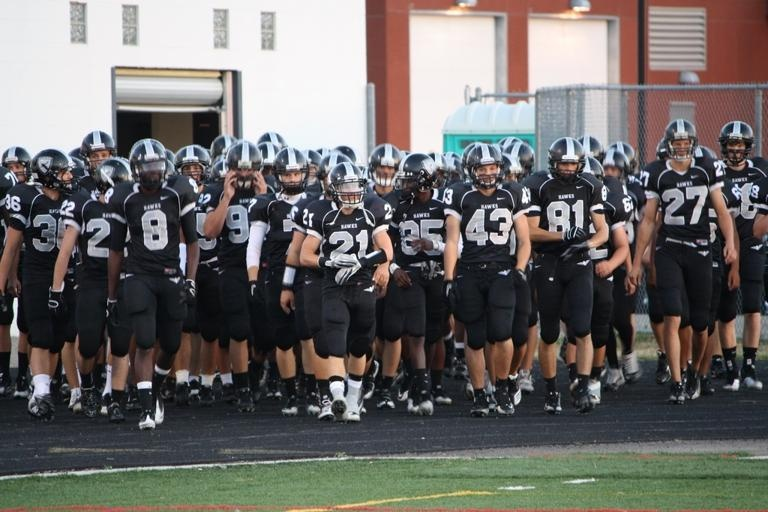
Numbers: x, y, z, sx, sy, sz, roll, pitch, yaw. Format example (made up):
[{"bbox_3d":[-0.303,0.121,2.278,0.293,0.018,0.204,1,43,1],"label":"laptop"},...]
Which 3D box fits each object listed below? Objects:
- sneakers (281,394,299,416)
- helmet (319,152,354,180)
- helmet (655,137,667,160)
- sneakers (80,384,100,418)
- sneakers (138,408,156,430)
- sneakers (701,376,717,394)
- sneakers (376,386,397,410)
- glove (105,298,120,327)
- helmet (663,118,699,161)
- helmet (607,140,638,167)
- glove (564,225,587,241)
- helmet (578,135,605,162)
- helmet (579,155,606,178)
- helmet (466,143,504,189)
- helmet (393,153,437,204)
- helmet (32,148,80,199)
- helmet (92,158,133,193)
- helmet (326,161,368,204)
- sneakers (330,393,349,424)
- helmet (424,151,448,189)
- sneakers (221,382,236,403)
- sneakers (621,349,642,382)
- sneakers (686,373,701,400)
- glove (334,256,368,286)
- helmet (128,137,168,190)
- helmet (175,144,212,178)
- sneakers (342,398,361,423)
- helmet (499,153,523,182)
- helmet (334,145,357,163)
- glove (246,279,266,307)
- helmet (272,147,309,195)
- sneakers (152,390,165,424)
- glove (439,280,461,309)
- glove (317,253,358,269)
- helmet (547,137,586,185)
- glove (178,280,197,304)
[{"bbox_3d":[-1.096,1.724,15.642,0.118,0.165,0.335,0,-10,-2],"label":"sneakers"},{"bbox_3d":[-0.562,-1.041,15.543,0.288,0.337,0.357,1,-10,-17],"label":"helmet"},{"bbox_3d":[3.306,-1.257,16.236,0.168,0.217,0.189,4,6,-5],"label":"helmet"},{"bbox_3d":[-3.336,1.660,15.677,0.145,0.404,0.169,0,-40,-39],"label":"sneakers"},{"bbox_3d":[-2.552,1.743,14.747,0.179,0.223,0.138,-3,6,-21],"label":"sneakers"},{"bbox_3d":[3.843,1.567,16.372,0.112,0.144,0.318,0,-13,8],"label":"sneakers"},{"bbox_3d":[0.003,1.673,16.149,0.205,0.195,0.465,0,-3,-3],"label":"sneakers"},{"bbox_3d":[-2.955,0.610,14.850,0.110,0.333,0.132,-1,-10,-2],"label":"glove"},{"bbox_3d":[3.348,-1.315,15.598,0.319,0.388,0.455,-1,6,4],"label":"helmet"},{"bbox_3d":[2.942,-1.265,16.927,0.297,0.368,0.369,-4,0,-3],"label":"helmet"},{"bbox_3d":[2.115,-0.239,15.137,0.299,0.157,0.136,-4,7,-25],"label":"glove"},{"bbox_3d":[2.447,-1.304,16.434,0.248,0.331,0.289,12,7,34],"label":"helmet"},{"bbox_3d":[2.386,-1.029,15.856,0.217,0.293,0.288,4,15,4],"label":"helmet"},{"bbox_3d":[1.085,-1.018,15.296,0.355,0.445,0.494,-2,4,-8],"label":"helmet"},{"bbox_3d":[0.331,-0.879,15.441,0.476,0.513,0.418,0,9,2],"label":"helmet"},{"bbox_3d":[-3.759,-0.930,15.580,0.517,0.531,0.458,2,11,-1],"label":"helmet"},{"bbox_3d":[-2.989,-0.892,15.045,0.383,0.376,0.332,8,7,20],"label":"helmet"},{"bbox_3d":[-0.402,-0.779,14.788,0.322,0.395,0.441,-4,12,-16],"label":"helmet"},{"bbox_3d":[-0.508,1.653,14.955,0.162,0.301,0.202,0,6,7],"label":"sneakers"},{"bbox_3d":[0.641,-1.021,16.374,0.316,0.410,0.397,-1,7,1],"label":"helmet"},{"bbox_3d":[-1.857,1.613,16.306,0.200,0.249,0.571,1,-8,-10],"label":"sneakers"},{"bbox_3d":[3.092,1.334,17.273,0.199,0.413,0.272,-17,-29,32],"label":"sneakers"},{"bbox_3d":[3.582,1.519,15.949,0.110,0.156,0.346,-1,41,10],"label":"sneakers"},{"bbox_3d":[-0.381,0.178,14.758,0.296,0.219,0.111,-30,-7,6],"label":"glove"},{"bbox_3d":[-2.501,-0.951,14.540,0.371,0.506,0.510,-6,10,-16],"label":"helmet"},{"bbox_3d":[-2.351,-1.158,16.675,0.311,0.345,0.407,-2,-4,-3],"label":"helmet"},{"bbox_3d":[-0.384,1.682,14.999,0.197,0.247,0.561,0,-7,1],"label":"sneakers"},{"bbox_3d":[1.491,-1.032,16.013,0.338,0.363,0.281,6,6,26],"label":"helmet"},{"bbox_3d":[-0.488,-1.273,17.253,0.193,0.261,0.245,5,-5,24],"label":"helmet"},{"bbox_3d":[-1.472,0.419,15.490,0.208,0.202,0.390,-10,19,-6],"label":"glove"},{"bbox_3d":[-1.056,-0.957,15.400,0.348,0.446,0.496,-1,8,-8],"label":"helmet"},{"bbox_3d":[-2.465,1.659,14.939,0.096,0.307,0.127,-2,5,-10],"label":"sneakers"},{"bbox_3d":[0.732,0.409,15.067,0.189,0.299,0.227,-1,6,-2],"label":"glove"},{"bbox_3d":[-0.510,0.061,14.723,0.268,0.133,0.204,0,-4,9],"label":"glove"},{"bbox_3d":[2.029,-1.098,15.399,0.341,0.410,0.485,1,14,-2],"label":"helmet"},{"bbox_3d":[-2.131,0.378,14.781,0.159,0.239,0.138,-1,0,18],"label":"glove"}]
